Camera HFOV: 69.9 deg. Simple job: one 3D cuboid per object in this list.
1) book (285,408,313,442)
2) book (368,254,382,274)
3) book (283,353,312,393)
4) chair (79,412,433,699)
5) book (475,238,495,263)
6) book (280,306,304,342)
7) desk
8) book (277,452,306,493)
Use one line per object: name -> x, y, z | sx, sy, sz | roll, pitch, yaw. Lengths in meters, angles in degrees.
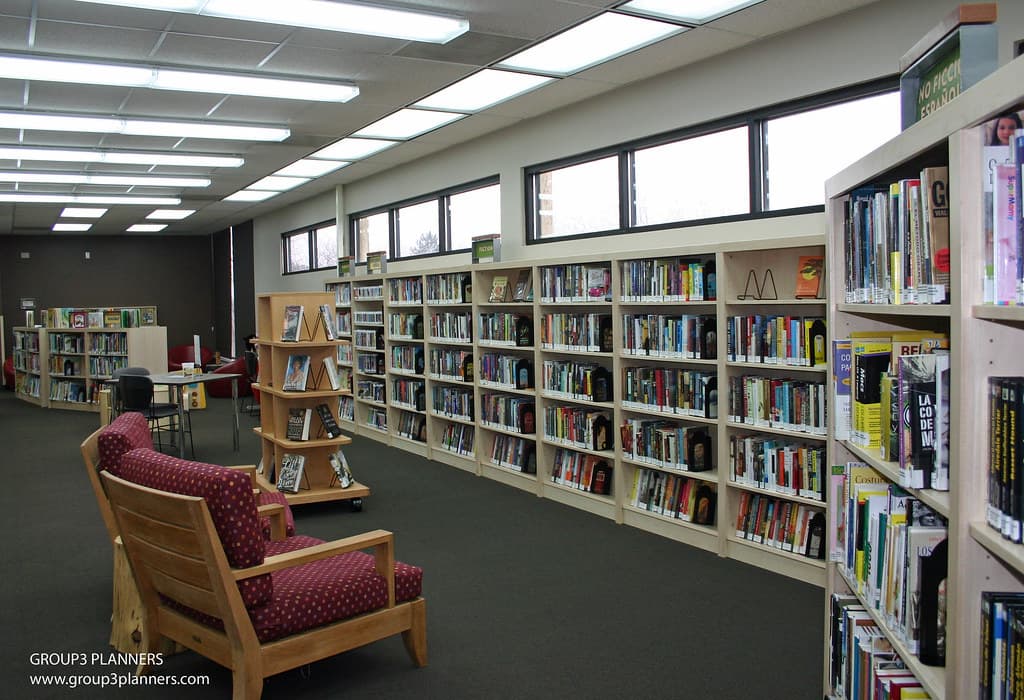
book -> -1.874, 0.672, 6.513 | 0.255, 0.276, 0.100 | -5, -11, 35
book -> -1.801, -1.170, 9.739 | 0.279, 0.288, 0.086 | -3, -4, 44
book -> -1.893, 0.206, 6.527 | 0.333, 0.432, 0.056 | -1, -9, 38
chair -> -1.355, 1.113, 4.070 | 1.378, 1.272, 1.925 | -2, 3, -44
book -> -0.284, -1.088, 7.924 | 0.100, 0.282, 0.299 | -3, 5, -43
book -> -1.933, -0.238, 6.501 | 0.049, 0.353, 0.295 | 14, -13, -42
desk -> -3.908, 0.609, 9.334 | 1.438, 1.355, 1.417 | -2, 1, -40
book -> -1.954, 1.108, 6.554 | 0.338, 0.376, 0.052 | -1, -12, 39
